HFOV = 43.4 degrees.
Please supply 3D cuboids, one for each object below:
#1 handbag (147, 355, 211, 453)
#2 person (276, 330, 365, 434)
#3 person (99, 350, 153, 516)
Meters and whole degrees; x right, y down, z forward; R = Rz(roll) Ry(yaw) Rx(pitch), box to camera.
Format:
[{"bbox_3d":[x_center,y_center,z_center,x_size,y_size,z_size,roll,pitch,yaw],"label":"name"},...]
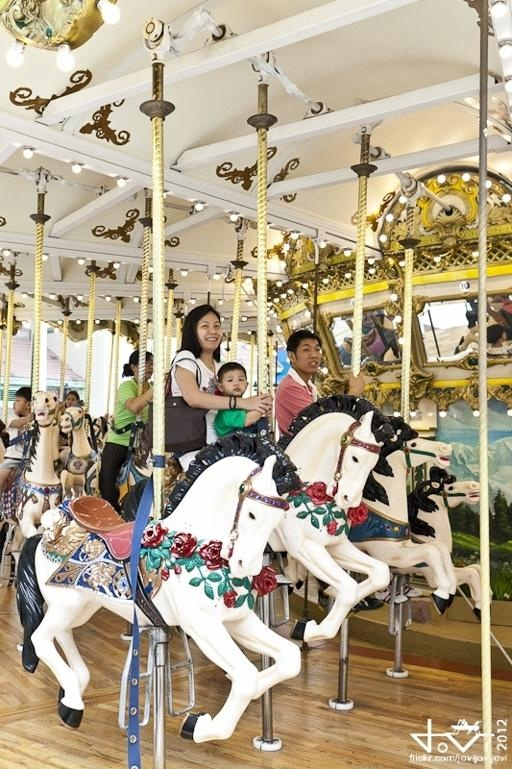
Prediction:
[{"bbox_3d":[-0.363,0.098,3.254,0.279,0.531,0.142,1,-19,-8],"label":"handbag"},{"bbox_3d":[0.366,-0.042,4.159,0.447,0.728,0.694,3,-8,-8],"label":"person"},{"bbox_3d":[-1.143,0.364,5.642,0.407,1.485,1.033,4,-8,-12],"label":"person"}]
